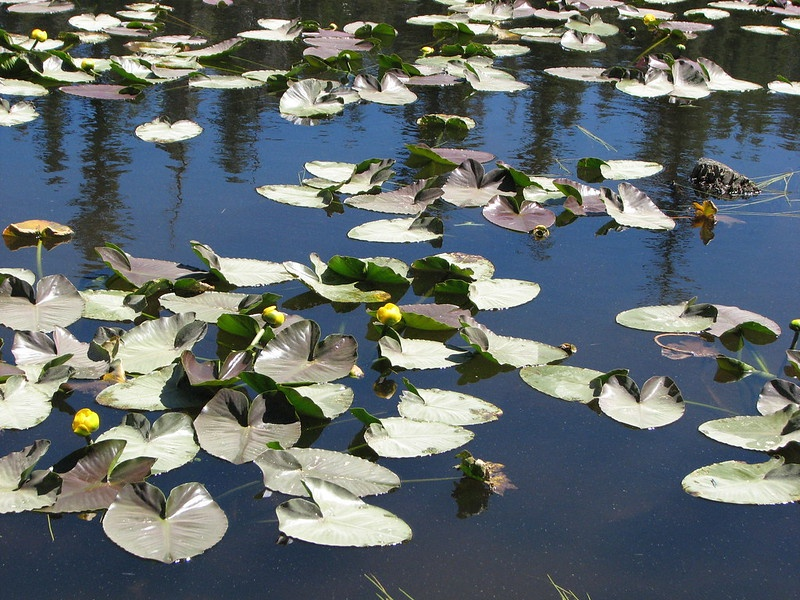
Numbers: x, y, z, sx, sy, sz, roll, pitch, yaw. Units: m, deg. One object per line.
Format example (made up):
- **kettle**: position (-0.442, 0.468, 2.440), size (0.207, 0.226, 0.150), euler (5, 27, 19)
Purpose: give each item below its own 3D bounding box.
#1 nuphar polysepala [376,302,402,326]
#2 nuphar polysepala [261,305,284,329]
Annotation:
- **nuphar polysepala**: position (-0.049, 0.059, 3.902), size (0.129, 0.078, 0.113), euler (9, -12, -21)
- **nuphar polysepala**: position (-0.531, 0.066, 3.860), size (0.118, 0.068, 0.083), euler (29, 45, 30)
